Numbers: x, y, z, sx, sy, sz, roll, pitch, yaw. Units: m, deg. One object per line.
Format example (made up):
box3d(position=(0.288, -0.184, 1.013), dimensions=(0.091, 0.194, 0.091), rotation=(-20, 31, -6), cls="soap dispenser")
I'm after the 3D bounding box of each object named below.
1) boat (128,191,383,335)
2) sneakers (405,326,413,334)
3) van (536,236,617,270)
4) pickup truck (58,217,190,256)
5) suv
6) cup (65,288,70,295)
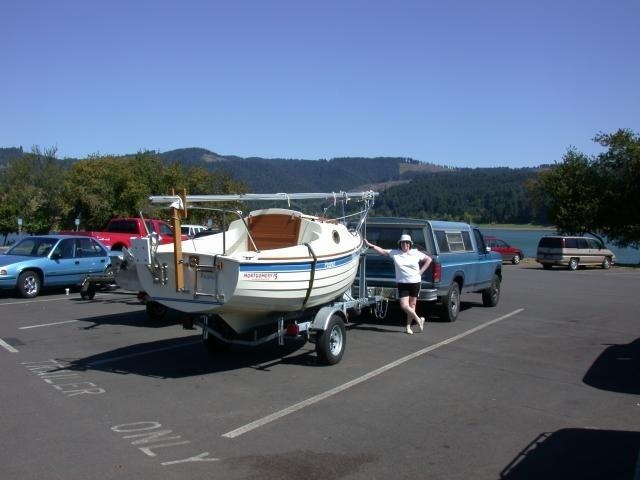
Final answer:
box3d(position=(-1.245, 0.448, 9.043), dimensions=(1.934, 2.398, 5.993), rotation=(5, 8, 32), cls="boat")
box3d(position=(2.076, 2.141, 11.710), dimensions=(0.113, 0.136, 0.324), rotation=(-3, -9, 9), cls="sneakers")
box3d(position=(16.806, 0.860, 33.178), dimensions=(6.598, 2.199, 2.852), rotation=(-1, 3, -33), cls="van")
box3d(position=(-6.637, -0.141, 16.673), dimensions=(2.033, 1.423, 3.802), rotation=(4, 8, 41), cls="pickup truck")
box3d(position=(3.159, 0.628, 13.813), dimensions=(2.140, 1.945, 4.040), rotation=(1, 4, 35), cls="suv")
box3d(position=(-8.574, 1.778, 16.933), dimensions=(0.181, 0.226, 0.189), rotation=(2, -1, 0), cls="cup")
